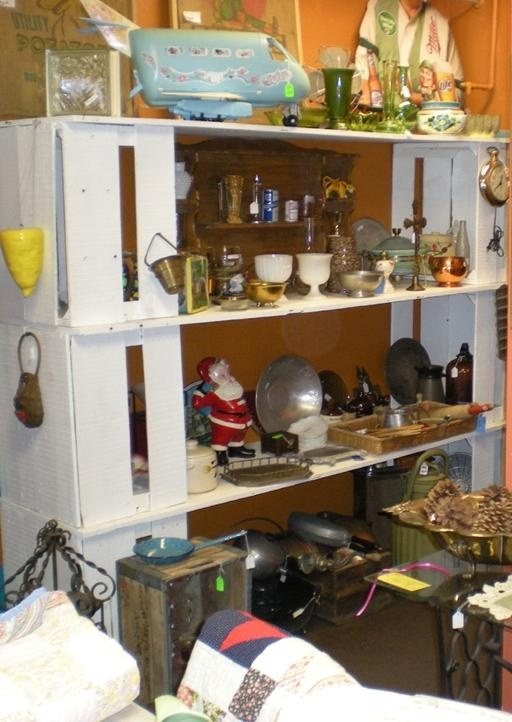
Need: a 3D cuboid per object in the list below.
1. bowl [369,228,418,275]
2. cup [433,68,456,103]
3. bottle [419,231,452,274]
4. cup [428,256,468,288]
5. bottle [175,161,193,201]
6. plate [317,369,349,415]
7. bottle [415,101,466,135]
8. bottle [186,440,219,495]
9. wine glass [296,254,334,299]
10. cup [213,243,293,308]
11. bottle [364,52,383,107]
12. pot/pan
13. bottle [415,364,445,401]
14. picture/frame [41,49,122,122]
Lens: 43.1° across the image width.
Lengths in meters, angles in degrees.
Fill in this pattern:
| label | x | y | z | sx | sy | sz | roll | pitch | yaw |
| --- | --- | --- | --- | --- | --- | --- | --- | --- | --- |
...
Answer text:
| label | x | y | z | sx | sy | sz | roll | pitch | yaw |
| --- | --- | --- | --- | --- | --- | --- | --- | --- | --- |
| bowl | 0.639 | -0.506 | 2.979 | 0.228 | 0.189 | 0.216 | -2 | 14 | 1 |
| cup | 0.852 | -1.236 | 2.925 | 0.091 | 0.175 | 0.154 | -2 | 7 | 14 |
| bottle | 0.850 | -0.514 | 3.072 | 0.215 | 0.222 | 0.210 | 1 | 3 | 12 |
| cup | 0.874 | -0.412 | 3.003 | 0.159 | 0.125 | 0.156 | -1 | 8 | 0 |
| bottle | -0.281 | -0.683 | 2.471 | 0.037 | 0.148 | 0.127 | 1 | 2 | 24 |
| plate | 0.372 | 0.157 | 3.125 | 0.049 | 0.181 | 0.189 | -9 | -21 | 39 |
| bottle | 0.822 | -1.078 | 2.911 | 0.176 | 0.112 | 0.181 | -2 | 21 | 1 |
| bottle | -0.188 | 0.383 | 2.280 | 0.147 | 0.129 | 0.158 | 0 | 2 | 10 |
| wine glass | 0.227 | -0.335 | 2.599 | 0.183 | 0.212 | 0.167 | 0 | 4 | 0 |
| cup | -0.061 | -0.303 | 2.406 | 0.335 | 0.202 | 0.202 | 2 | 7 | 31 |
| bottle | 0.540 | -1.288 | 2.969 | 0.101 | 0.270 | 0.065 | -7 | 8 | -31 |
| pot/pan | -0.219 | 0.538 | 1.860 | 0.255 | 0.038 | 0.142 | -2 | -1 | -13 |
| bottle | 0.869 | 0.110 | 3.321 | 0.188 | 0.209 | 0.169 | 2 | 5 | 12 |
| picture/frame | -0.479 | -0.759 | 1.781 | 0.245 | 0.193 | 0.080 | 0 | 11 | -4 |
